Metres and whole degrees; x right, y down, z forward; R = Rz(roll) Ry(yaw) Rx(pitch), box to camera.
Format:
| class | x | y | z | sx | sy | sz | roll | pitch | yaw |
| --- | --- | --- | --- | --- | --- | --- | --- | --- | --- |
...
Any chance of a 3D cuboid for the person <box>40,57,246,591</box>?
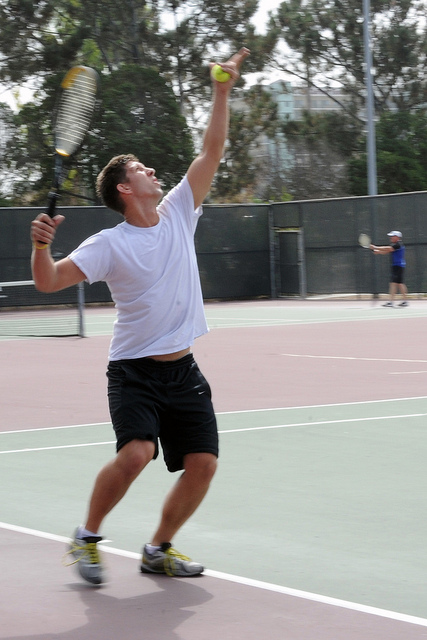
| class | x | y | z | sx | sy | sz | roll | pitch | yaw |
| --- | --- | --- | --- | --- | --- | --- | --- | --- | --- |
| person | -0.253 | -0.051 | 2.521 | 0.931 | 2.052 | 0.349 | -3 | 2 | -33 |

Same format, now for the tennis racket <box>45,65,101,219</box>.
| class | x | y | z | sx | sy | sz | roll | pitch | yaw |
| --- | --- | --- | --- | --- | --- | --- | --- | --- | --- |
| tennis racket | -0.679 | -0.756 | 2.995 | 0.190 | 0.797 | 0.117 | 23 | 14 | 22 |

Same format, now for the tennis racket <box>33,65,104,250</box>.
| class | x | y | z | sx | sy | sz | roll | pitch | yaw |
| --- | --- | --- | --- | --- | --- | --- | --- | --- | --- |
| tennis racket | -0.662 | -0.740 | 2.948 | 0.192 | 0.795 | 0.084 | 14 | 2 | 16 |
